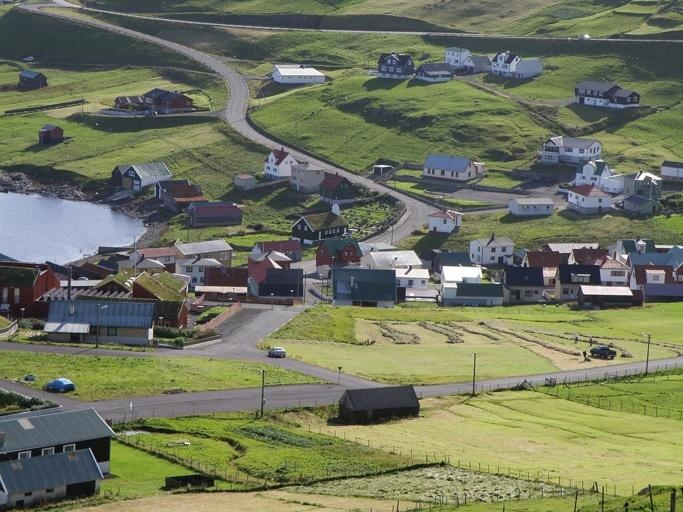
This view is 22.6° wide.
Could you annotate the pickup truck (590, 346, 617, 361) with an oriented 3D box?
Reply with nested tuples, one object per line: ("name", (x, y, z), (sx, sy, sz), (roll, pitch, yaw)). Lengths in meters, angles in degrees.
("pickup truck", (36.852, 13.834, 241.386), (3.243, 1.474, 1.810), (1, 5, 16))

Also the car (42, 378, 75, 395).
("car", (-37.215, 17.066, 222.138), (3.483, 1.475, 1.837), (7, 5, 13))

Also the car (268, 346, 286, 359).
("car", (-9.545, 13.550, 237.510), (1.441, 0.951, 2.185), (-4, 9, -37))
